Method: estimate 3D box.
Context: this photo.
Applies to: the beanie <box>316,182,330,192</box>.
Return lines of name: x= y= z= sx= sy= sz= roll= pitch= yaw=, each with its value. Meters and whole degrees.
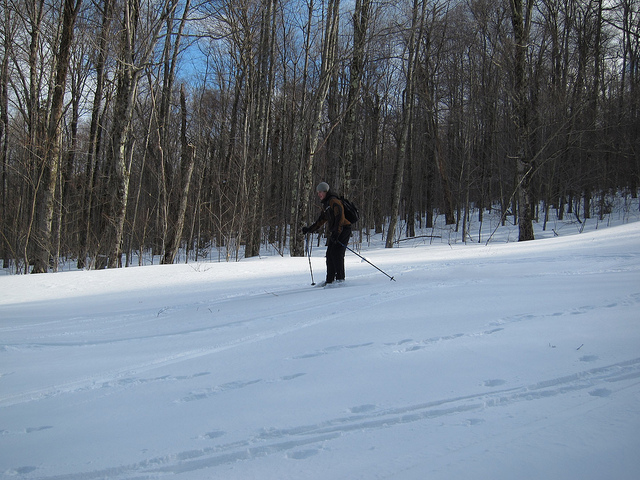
beanie: x=0.069 y=-1.169 z=13.477 sx=0.223 sy=0.203 sz=0.183 roll=-14 pitch=15 yaw=-17
